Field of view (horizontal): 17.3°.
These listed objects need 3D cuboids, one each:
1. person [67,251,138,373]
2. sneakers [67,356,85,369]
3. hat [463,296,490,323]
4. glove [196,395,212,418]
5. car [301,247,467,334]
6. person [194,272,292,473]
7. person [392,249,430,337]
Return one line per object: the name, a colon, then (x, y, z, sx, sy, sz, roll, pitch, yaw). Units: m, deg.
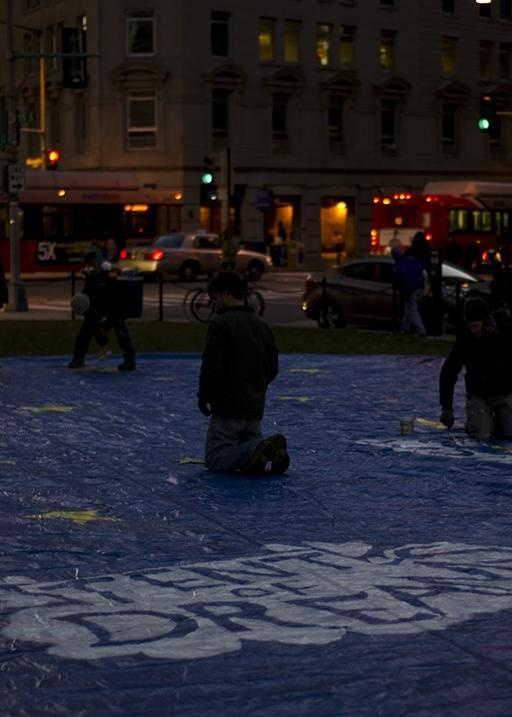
person: (-1.614, -0.471, 17.598, 0.701, 1.193, 1.033, 0, 6, -4)
sneakers: (-1.905, 0.054, 17.828, 0.138, 0.103, 0.147, 9, 18, 26)
hat: (1.597, -0.361, 12.302, 0.192, 0.187, 0.147, -15, 11, -33)
glove: (-0.337, 0.323, 11.024, 0.046, 0.162, 0.117, -16, 13, 1)
car: (1.738, -0.936, 23.817, 2.143, 0.790, 1.016, -2, 4, 21)
person: (-0.085, 0.106, 11.142, 0.649, 1.368, 0.457, -1, 6, -16)
person: (2.050, -0.858, 22.467, 0.437, 1.143, 0.780, 1, 6, 5)
